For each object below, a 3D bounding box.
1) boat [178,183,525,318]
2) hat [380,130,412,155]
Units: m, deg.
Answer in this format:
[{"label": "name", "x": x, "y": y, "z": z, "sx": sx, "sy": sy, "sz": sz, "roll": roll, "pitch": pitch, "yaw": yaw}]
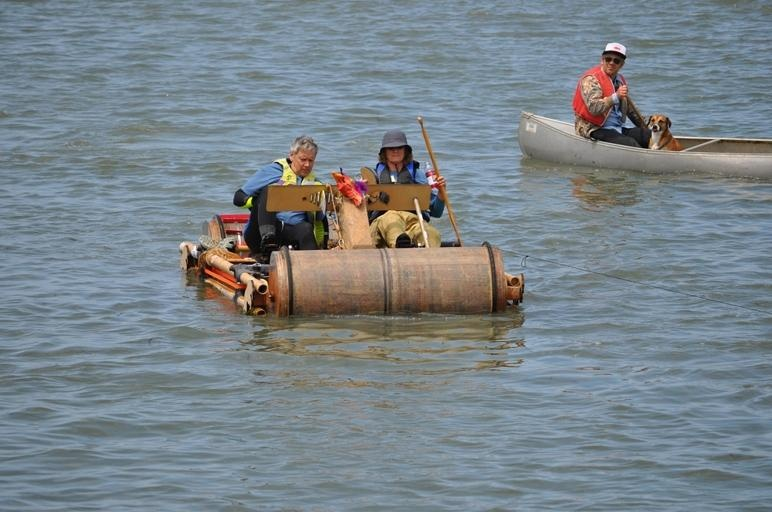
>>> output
[{"label": "boat", "x": -0.444, "y": 0.132, "z": 24.226, "sx": 4.938, "sy": 2.292, "sz": 1.991, "roll": 4, "pitch": 77, "yaw": 2}, {"label": "hat", "x": 0.160, "y": -1.706, "z": 24.577, "sx": 0.440, "sy": 0.448, "sz": 0.195, "roll": 0, "pitch": 79, "yaw": -2}]
